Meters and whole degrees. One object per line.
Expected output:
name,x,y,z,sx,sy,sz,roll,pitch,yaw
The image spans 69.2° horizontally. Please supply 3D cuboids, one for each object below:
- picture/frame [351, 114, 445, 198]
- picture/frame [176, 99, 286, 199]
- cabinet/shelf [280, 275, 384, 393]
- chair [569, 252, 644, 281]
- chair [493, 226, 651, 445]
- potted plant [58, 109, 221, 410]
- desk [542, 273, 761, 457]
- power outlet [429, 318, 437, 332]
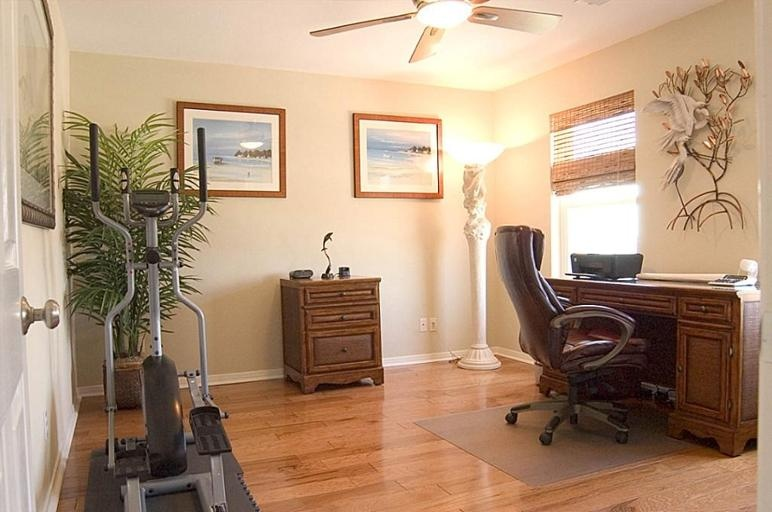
picture/frame,0.072,-1.005,5.634,0.990,0.758,0.069,1,-1,-24
picture/frame,-1.406,-0.944,4.935,1.326,1.056,0.054,1,-2,-26
cabinet/shelf,-0.519,0.686,5.173,0.882,0.949,0.748,-1,0,-16
chair,1.739,0.087,4.306,0.305,0.156,0.319,1,-1,-31
chair,1.266,0.521,3.884,0.970,1.322,0.900,0,-2,10
potted plant,-1.932,0.174,4.395,1.125,2.053,0.803,-1,9,-18
desk,1.925,0.705,4.136,0.671,1.011,1.702,2,0,-28
power outlet,0.486,0.721,5.824,0.084,0.153,0.021,-5,8,-32
